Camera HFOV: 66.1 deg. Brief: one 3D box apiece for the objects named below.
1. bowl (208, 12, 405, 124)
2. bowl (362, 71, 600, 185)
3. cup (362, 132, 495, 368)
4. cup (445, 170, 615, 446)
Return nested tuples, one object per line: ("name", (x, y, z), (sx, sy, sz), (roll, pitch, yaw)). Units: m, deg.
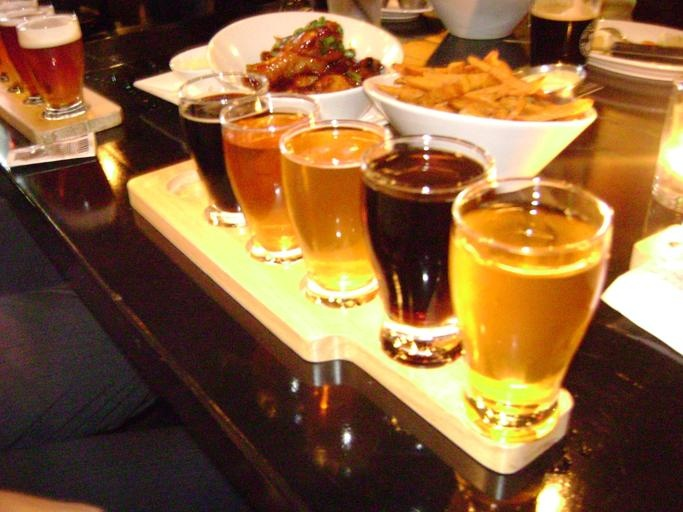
("bowl", (-0.072, -0.394, 1.095), (0.405, 0.132, 0.362), (-12, 47, -10))
("bowl", (0.198, -0.186, 0.774), (0.253, 0.088, 0.247), (7, 26, -3))
("cup", (0.106, -0.027, 0.613), (0.181, 0.265, 0.157), (-5, 44, -3))
("cup", (0.164, 0.057, 0.510), (0.134, 0.233, 0.149), (6, 41, 10))
